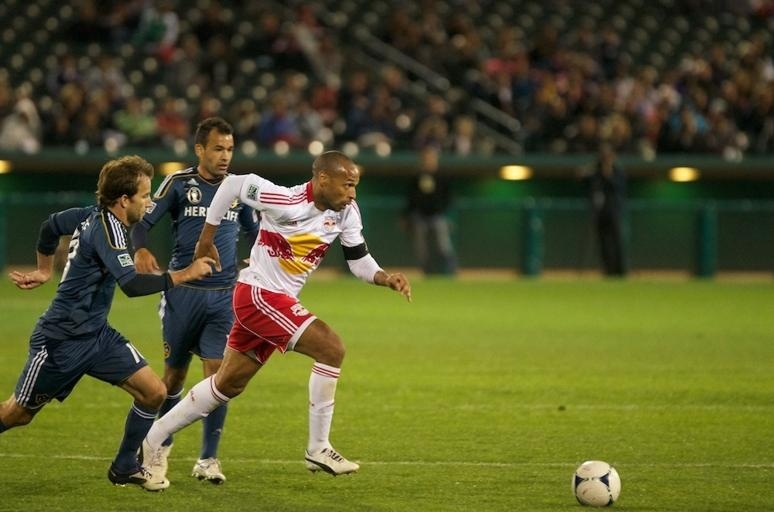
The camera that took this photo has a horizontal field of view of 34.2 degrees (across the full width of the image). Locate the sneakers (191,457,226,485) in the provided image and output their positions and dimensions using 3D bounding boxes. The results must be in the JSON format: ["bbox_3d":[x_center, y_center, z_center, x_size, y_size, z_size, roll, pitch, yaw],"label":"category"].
[{"bbox_3d":[-2.199,2.638,15.453,0.454,0.190,0.221,1,-7,37],"label":"sneakers"}]

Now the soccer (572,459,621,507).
[{"bbox_3d":[2.489,2.727,15.127,0.554,0.509,0.513,4,33,-19],"label":"soccer"}]
